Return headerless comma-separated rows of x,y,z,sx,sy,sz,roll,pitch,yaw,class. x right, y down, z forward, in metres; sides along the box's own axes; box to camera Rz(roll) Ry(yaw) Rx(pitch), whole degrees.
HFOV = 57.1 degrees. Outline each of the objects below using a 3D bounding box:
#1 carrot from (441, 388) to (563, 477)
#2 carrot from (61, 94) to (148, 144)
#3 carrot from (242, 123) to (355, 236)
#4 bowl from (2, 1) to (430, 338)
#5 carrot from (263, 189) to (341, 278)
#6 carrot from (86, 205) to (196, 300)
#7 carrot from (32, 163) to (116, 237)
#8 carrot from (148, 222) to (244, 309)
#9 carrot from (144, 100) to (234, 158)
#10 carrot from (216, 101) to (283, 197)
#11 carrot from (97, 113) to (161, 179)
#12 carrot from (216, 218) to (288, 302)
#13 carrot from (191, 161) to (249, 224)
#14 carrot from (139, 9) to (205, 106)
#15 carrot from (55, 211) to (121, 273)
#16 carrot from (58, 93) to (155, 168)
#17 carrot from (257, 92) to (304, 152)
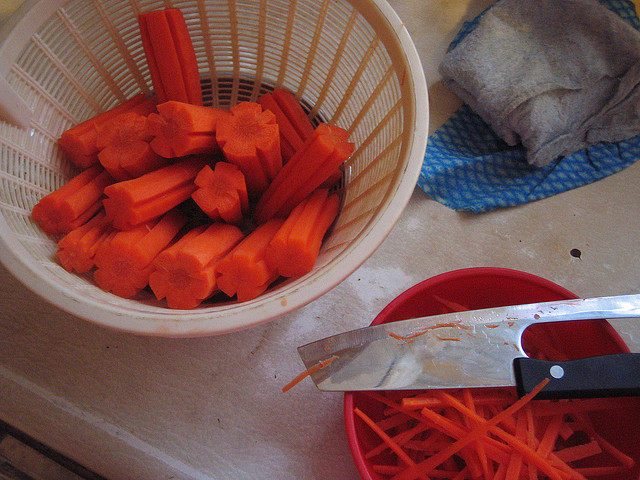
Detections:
0.388,0.411,1.249,0.268,0.037,0.028,39,71,14,carrot
-0.497,-0.283,1.410,0.064,0.064,0.250,15,51,29,carrot
-0.050,-0.131,1.332,0.090,0.304,0.079,42,37,-6,carrot
-0.257,-0.177,1.535,0.782,0.456,0.875,16,87,2,bowl
-0.043,-0.035,1.348,0.094,0.116,0.248,58,31,-26,carrot
-0.406,-0.006,1.377,0.156,0.119,0.299,6,26,2,carrot
-0.554,-0.112,1.366,0.116,0.093,0.239,15,34,1,carrot
-0.261,0.054,1.290,0.117,0.092,0.200,23,45,18,carrot
-0.262,-0.262,1.397,0.156,0.122,0.275,9,15,30,carrot
-0.159,-0.195,1.313,0.125,0.196,0.141,-19,75,-7,carrot
-0.415,-0.211,1.369,0.124,0.133,0.131,-25,94,-8,carrot
-0.138,0.044,1.321,0.093,0.080,0.190,18,52,23,carrot
-0.213,-0.104,1.376,0.124,0.145,0.124,28,85,7,carrot
-0.341,-0.428,1.364,0.085,0.299,0.071,-19,42,-19,carrot
-0.498,0.005,1.285,0.083,0.062,0.150,32,55,0,carrot
-0.500,-0.233,1.412,0.254,0.146,0.124,-32,96,-22,carrot
-0.092,-0.287,1.464,0.055,0.054,0.212,-38,86,-9,carrot
